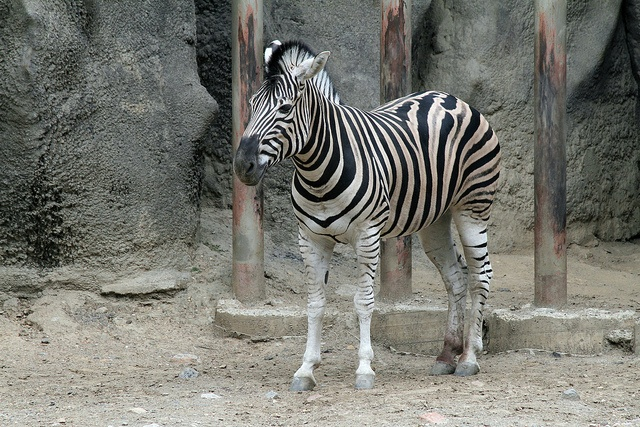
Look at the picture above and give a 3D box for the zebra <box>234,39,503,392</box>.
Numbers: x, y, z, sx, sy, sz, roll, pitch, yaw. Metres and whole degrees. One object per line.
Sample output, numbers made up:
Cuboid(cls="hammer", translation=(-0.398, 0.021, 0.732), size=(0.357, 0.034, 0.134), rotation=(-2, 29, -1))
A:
Cuboid(cls="zebra", translation=(0.409, 0.066, 9.441), size=(1.200, 3.247, 3.883), rotation=(0, 1, 41))
